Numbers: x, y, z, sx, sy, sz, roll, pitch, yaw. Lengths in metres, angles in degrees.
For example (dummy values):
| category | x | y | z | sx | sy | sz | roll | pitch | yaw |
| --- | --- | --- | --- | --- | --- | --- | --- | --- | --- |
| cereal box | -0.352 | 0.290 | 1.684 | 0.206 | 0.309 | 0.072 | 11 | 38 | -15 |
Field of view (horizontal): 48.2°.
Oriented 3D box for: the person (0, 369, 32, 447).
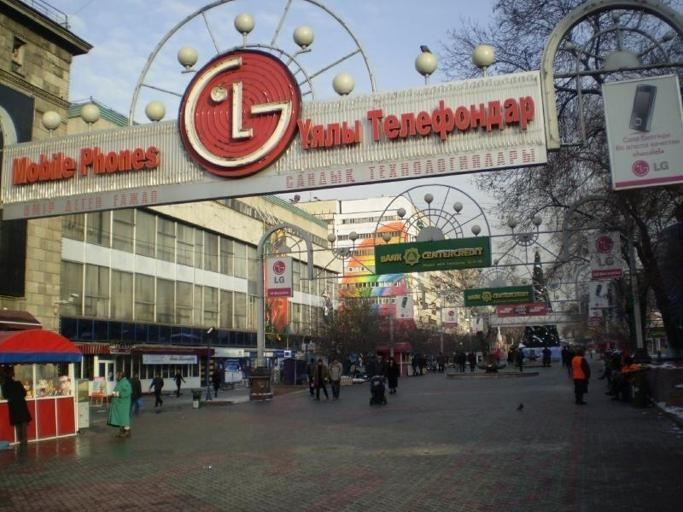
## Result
| category | x | y | z | sx | sy | sz | roll | pitch | yaw |
| --- | --- | --- | --- | --- | --- | --- | --- | --- | --- |
| person | -9.182 | 4.234 | 21.465 | 0.789 | 2.180 | 0.874 | 2 | -12 | -25 |

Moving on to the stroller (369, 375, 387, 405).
| category | x | y | z | sx | sy | sz | roll | pitch | yaw |
| --- | --- | --- | --- | --- | --- | --- | --- | --- | --- |
| stroller | 1.434 | 5.208 | 29.752 | 0.631 | 1.140 | 0.895 | -4 | -11 | 2 |

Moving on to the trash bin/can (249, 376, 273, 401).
| category | x | y | z | sx | sy | sz | roll | pitch | yaw |
| --- | --- | --- | --- | --- | --- | --- | --- | --- | --- |
| trash bin/can | -3.721 | 6.120 | 35.348 | 0.905 | 1.415 | 1.356 | -1 | -5 | 12 |

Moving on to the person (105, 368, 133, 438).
| category | x | y | z | sx | sy | sz | roll | pitch | yaw |
| --- | --- | --- | --- | --- | --- | --- | --- | --- | --- |
| person | -6.635 | 4.442 | 22.780 | 0.576 | 1.786 | 0.918 | -1 | -11 | -12 |
